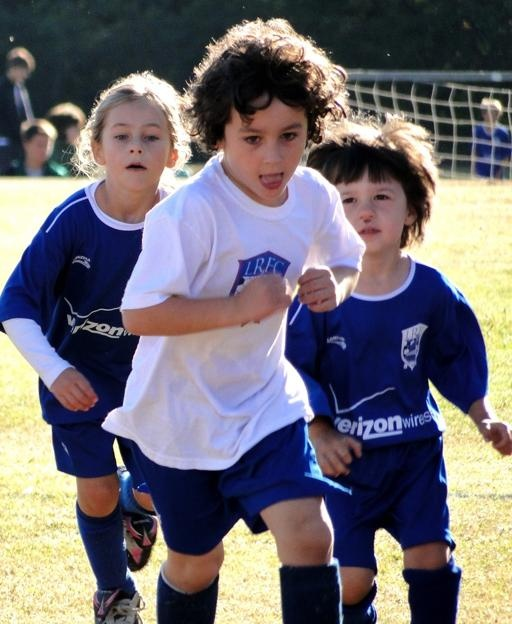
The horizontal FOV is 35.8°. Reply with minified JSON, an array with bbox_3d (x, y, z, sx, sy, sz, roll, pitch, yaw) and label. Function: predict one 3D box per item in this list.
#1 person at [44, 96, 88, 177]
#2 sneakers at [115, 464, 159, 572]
[{"bbox_3d":[-2.896,-2.833,12.291,0.407,0.881,0.405,-3,38,-25],"label":"person"},{"bbox_3d":[-0.378,0.649,2.554,0.105,0.326,0.138,-4,-27,-7],"label":"sneakers"}]
